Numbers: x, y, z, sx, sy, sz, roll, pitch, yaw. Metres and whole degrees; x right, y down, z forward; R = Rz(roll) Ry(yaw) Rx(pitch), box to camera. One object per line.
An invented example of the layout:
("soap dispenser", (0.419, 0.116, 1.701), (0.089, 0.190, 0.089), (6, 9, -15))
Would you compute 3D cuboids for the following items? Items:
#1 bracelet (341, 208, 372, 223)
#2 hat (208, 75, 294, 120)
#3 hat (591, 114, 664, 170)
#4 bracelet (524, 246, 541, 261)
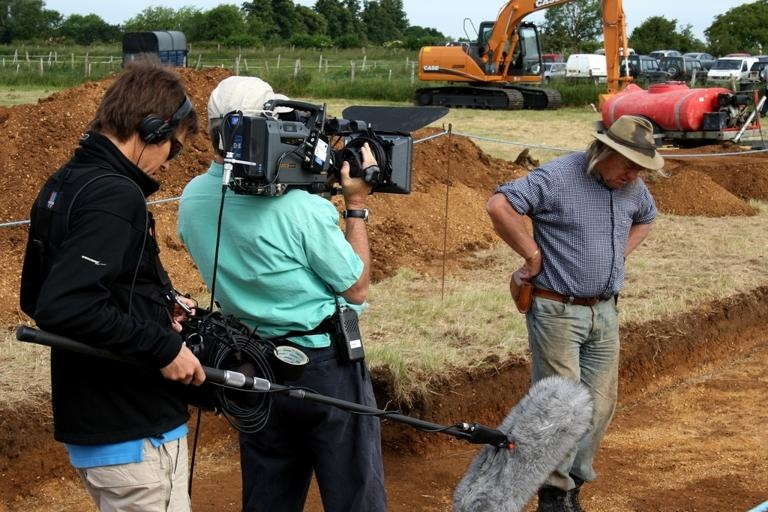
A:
("bracelet", (-0.212, -0.300, 6.745), (0.185, 0.111, 0.188), (2, -2, 4))
("hat", (-0.990, -1.120, 6.495), (0.439, 0.212, 0.316), (-2, 30, -5))
("hat", (1.938, -0.921, 7.394), (0.460, 0.238, 0.469), (26, 15, 30))
("bracelet", (1.212, -0.008, 7.533), (0.099, 0.132, 0.051), (8, 37, -19))
